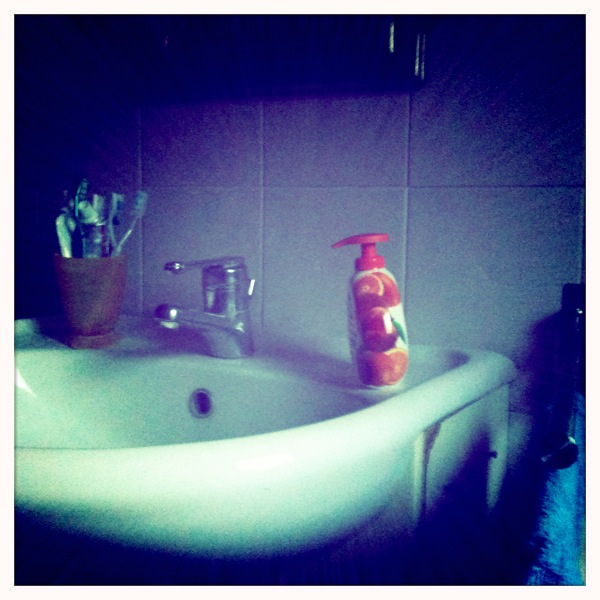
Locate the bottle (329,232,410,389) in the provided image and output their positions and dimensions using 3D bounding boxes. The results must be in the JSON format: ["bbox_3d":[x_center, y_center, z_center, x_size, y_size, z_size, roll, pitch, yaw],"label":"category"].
[{"bbox_3d":[0.096,0.011,0.790,0.098,0.198,0.077,5,5,37],"label":"bottle"}]

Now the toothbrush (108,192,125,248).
[{"bbox_3d":[-0.303,-0.133,0.994,0.019,0.089,0.032,6,1,36],"label":"toothbrush"}]

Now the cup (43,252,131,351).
[{"bbox_3d":[-0.361,-0.002,0.975,0.167,0.144,0.094,5,5,41],"label":"cup"}]

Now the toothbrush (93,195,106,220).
[{"bbox_3d":[-0.312,-0.148,0.969,0.012,0.039,0.033,4,6,3],"label":"toothbrush"}]

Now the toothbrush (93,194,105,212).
[{"bbox_3d":[-0.318,-0.152,0.963,0.025,0.028,0.008,-5,23,-41],"label":"toothbrush"}]

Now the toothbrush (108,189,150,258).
[{"bbox_3d":[-0.264,-0.122,0.980,0.075,0.105,0.053,-3,17,-3],"label":"toothbrush"}]
